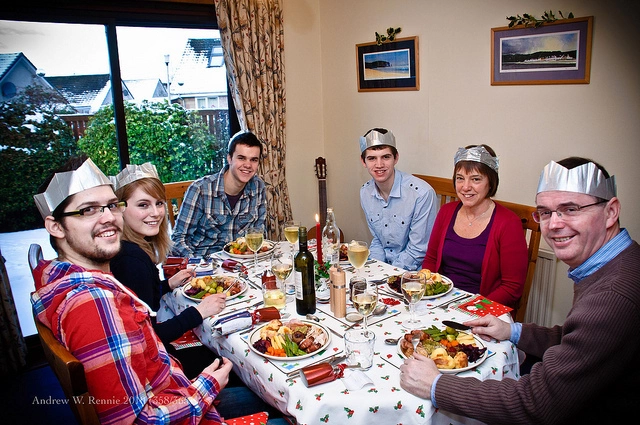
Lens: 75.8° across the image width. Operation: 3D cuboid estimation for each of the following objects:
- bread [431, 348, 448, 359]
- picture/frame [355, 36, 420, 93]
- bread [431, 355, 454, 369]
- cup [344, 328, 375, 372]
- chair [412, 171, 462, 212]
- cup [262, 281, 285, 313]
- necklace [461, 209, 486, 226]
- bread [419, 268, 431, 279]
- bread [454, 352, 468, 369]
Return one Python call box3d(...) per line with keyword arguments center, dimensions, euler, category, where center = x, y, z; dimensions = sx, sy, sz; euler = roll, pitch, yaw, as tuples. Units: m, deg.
box3d(center=(0.500, 0.594, 1.735), dimensions=(0.046, 0.015, 0.040), euler=(-21, 21, -2), category="bread")
box3d(center=(0.645, -1.378, 3.805), dimensions=(0.625, 0.433, 0.014), euler=(10, 23, 44), category="picture/frame")
box3d(center=(0.521, 0.621, 1.707), dimensions=(0.054, 0.024, 0.054), euler=(-6, 27, -23), category="bread")
box3d(center=(0.154, 0.594, 1.785), dimensions=(0.126, 0.141, 0.140), euler=(-3, 3, -2), category="cup")
box3d(center=(0.924, -0.169, 3.422), dimensions=(0.280, 0.478, 0.273), euler=(-6, 8, -31), category="chair")
box3d(center=(-0.230, 0.442, 2.155), dimensions=(0.123, 0.138, 0.142), euler=(-4, -6, -2), category="cup")
box3d(center=(0.976, 0.036, 2.636), dimensions=(0.093, 0.092, 0.029), euler=(9, 10, 43), category="necklace")
box3d(center=(0.563, 0.335, 2.193), dimensions=(0.063, 0.029, 0.078), euler=(5, 8, -4), category="bread")
box3d(center=(0.584, 0.614, 1.706), dimensions=(0.056, 0.068, 0.056), euler=(-5, -1, 5), category="bread")
